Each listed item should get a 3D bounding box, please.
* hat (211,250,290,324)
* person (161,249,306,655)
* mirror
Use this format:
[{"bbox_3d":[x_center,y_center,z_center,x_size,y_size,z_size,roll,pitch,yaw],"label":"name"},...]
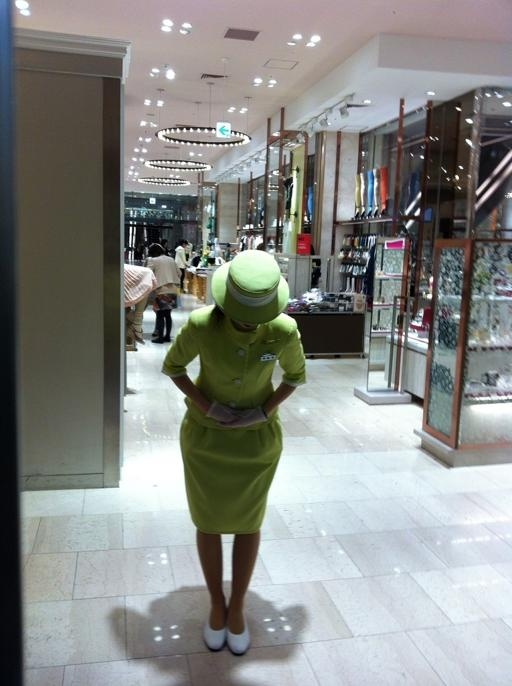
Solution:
[{"bbox_3d":[-0.004,-0.214,1.826,0.259,0.146,0.296,12,42,12],"label":"hat"},{"bbox_3d":[-0.105,0.446,2.102,0.515,1.654,0.449,7,10,28],"label":"person"},{"bbox_3d":[1.813,-0.283,6.217,0.545,2.114,0.567,-20,23,-40],"label":"mirror"}]
